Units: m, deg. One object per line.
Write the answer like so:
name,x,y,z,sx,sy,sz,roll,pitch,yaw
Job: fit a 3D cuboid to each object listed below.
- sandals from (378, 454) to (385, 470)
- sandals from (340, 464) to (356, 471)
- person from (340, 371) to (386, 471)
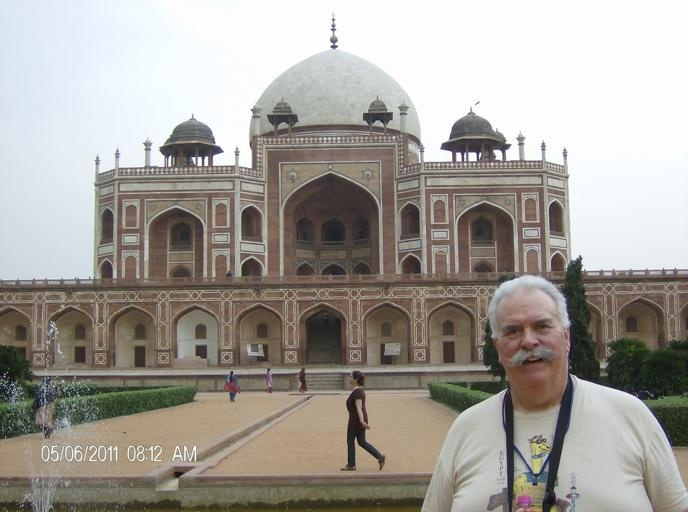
sandals,0.644,3.445,19.698,0.111,0.255,0.091,0,19,-1
sandals,0.078,3.524,19.622,0.186,0.083,0.100,3,-7,8
person,0.350,2.762,19.867,0.710,1.591,0.696,0,1,0
